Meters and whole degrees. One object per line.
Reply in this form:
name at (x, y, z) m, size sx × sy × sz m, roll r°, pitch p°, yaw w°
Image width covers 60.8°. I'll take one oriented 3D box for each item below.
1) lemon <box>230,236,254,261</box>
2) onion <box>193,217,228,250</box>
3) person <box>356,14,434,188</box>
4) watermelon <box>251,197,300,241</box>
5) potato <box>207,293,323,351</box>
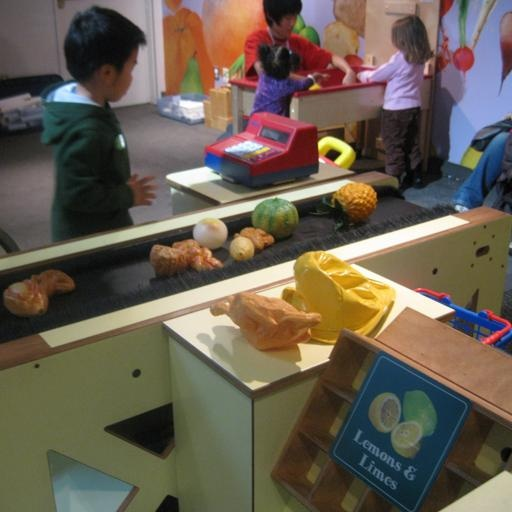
lemon at (-0.044, -0.024, 1.394) m, size 0.061 × 0.093 × 0.071 m, roll -1°, pitch 4°, yaw 5°
onion at (-0.151, -0.097, 1.436) m, size 0.092 × 0.079 × 0.092 m, roll 29°, pitch 28°, yaw 26°
person at (1.331, -1.443, 4.136) m, size 0.623 × 1.466 × 0.511 m, roll 0°, pitch 21°, yaw 3°
watermelon at (0.064, -0.126, 1.529) m, size 0.156 × 0.137 × 0.085 m, roll -2°, pitch 22°, yaw -2°
potato at (0.017, 0.144, 0.977) m, size 0.245 × 0.124 × 0.130 m, roll 4°, pitch 24°, yaw 10°
